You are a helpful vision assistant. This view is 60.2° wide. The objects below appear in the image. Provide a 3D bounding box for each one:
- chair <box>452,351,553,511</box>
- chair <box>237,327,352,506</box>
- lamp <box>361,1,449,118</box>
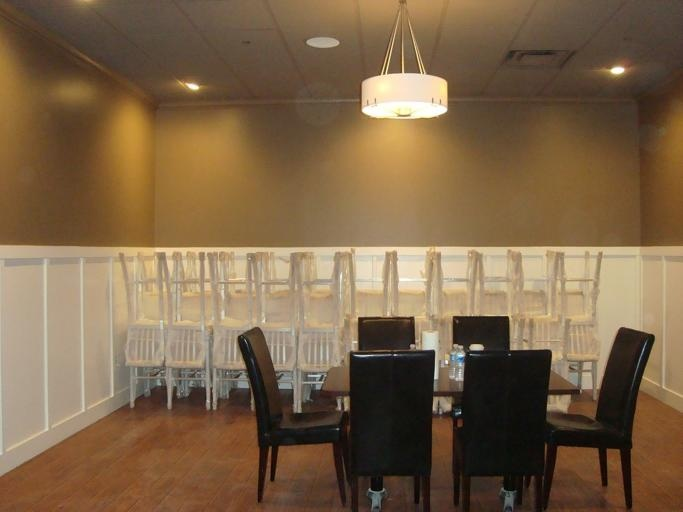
[{"bbox_3d":[1.209,1.357,4.436,0.679,1.423,0.471,1,8,12],"label":"chair"},{"bbox_3d":[-0.393,1.301,4.934,0.869,1.417,0.555,0,8,0],"label":"chair"},{"bbox_3d":[0.556,-1.824,5.379,0.715,1.118,1.429,0,7,3],"label":"lamp"}]
